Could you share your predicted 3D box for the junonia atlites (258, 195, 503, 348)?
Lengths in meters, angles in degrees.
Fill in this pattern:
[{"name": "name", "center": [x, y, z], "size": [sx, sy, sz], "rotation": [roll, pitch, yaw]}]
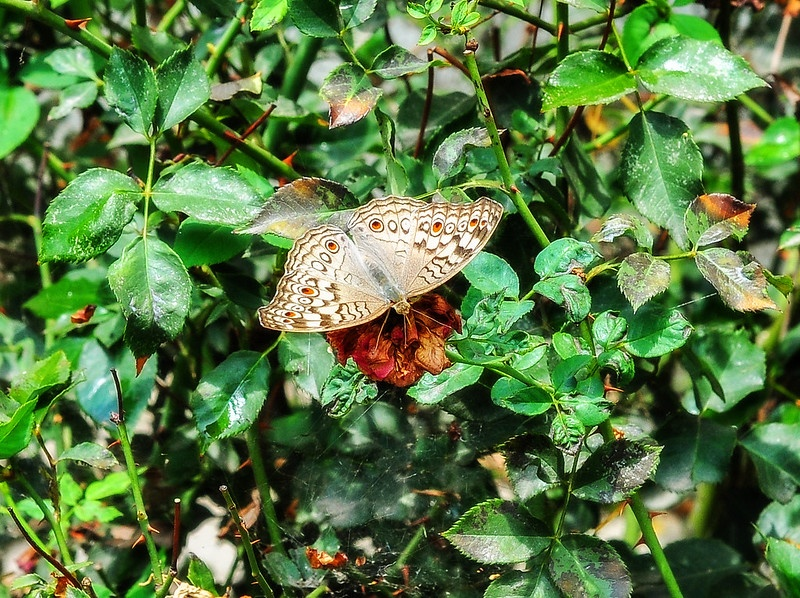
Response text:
[{"name": "junonia atlites", "center": [-0.026, -0.057, 1.038], "size": [0.321, 0.072, 0.156], "rotation": [-14, 73, -4]}]
